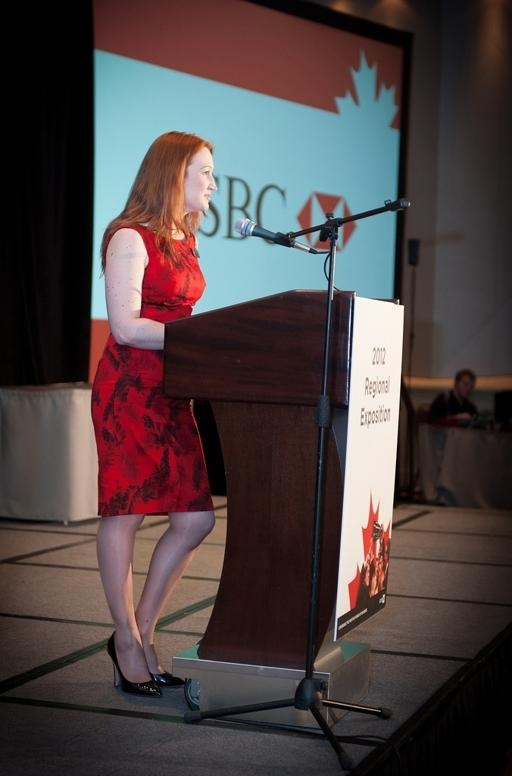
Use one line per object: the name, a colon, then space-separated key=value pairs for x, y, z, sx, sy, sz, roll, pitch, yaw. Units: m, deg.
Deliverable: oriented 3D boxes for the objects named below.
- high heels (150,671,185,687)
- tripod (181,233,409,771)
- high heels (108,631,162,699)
high heels: x=-0.193 y=0.642 z=1.761 sx=0.084 sy=0.038 sz=0.032 roll=1 pitch=-2 yaw=-2
tripod: x=0.078 y=0.144 z=1.517 sx=0.356 sy=0.983 sz=0.369 roll=0 pitch=-3 yaw=27
high heels: x=-0.262 y=0.592 z=1.719 sx=0.130 sy=0.114 sz=0.056 roll=11 pitch=2 yaw=19
